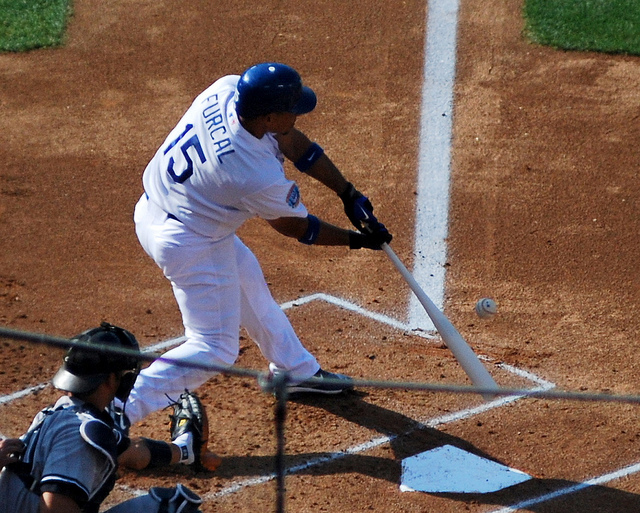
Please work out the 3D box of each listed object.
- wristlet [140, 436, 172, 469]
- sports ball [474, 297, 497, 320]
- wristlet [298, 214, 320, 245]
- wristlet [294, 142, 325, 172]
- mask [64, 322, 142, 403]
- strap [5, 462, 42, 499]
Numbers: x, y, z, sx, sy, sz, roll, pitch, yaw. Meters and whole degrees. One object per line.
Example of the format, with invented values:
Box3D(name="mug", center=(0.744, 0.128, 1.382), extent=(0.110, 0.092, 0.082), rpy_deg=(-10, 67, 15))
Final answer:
Box3D(name="wristlet", center=(-1.358, 1.690, 10.046), extent=(0.251, 0.380, 0.219), rpy_deg=(-4, 39, -10))
Box3D(name="sports ball", center=(1.539, 0.497, 11.243), extent=(0.210, 0.199, 0.208), rpy_deg=(0, 83, -1))
Box3D(name="wristlet", center=(-0.066, -0.237, 10.678), extent=(0.159, 0.202, 0.231), rpy_deg=(-3, 79, -39))
Box3D(name="wristlet", center=(-0.101, -0.895, 10.986), extent=(0.097, 0.263, 0.220), rpy_deg=(44, 17, -9))
Box3D(name="mask", center=(-1.736, 0.885, 9.598), extent=(0.631, 0.419, 0.493), rpy_deg=(-16, 33, -29))
Box3D(name="strap", center=(-2.273, 1.737, 9.287), extent=(0.105, 0.212, 0.292), rpy_deg=(-42, 97, -18))
